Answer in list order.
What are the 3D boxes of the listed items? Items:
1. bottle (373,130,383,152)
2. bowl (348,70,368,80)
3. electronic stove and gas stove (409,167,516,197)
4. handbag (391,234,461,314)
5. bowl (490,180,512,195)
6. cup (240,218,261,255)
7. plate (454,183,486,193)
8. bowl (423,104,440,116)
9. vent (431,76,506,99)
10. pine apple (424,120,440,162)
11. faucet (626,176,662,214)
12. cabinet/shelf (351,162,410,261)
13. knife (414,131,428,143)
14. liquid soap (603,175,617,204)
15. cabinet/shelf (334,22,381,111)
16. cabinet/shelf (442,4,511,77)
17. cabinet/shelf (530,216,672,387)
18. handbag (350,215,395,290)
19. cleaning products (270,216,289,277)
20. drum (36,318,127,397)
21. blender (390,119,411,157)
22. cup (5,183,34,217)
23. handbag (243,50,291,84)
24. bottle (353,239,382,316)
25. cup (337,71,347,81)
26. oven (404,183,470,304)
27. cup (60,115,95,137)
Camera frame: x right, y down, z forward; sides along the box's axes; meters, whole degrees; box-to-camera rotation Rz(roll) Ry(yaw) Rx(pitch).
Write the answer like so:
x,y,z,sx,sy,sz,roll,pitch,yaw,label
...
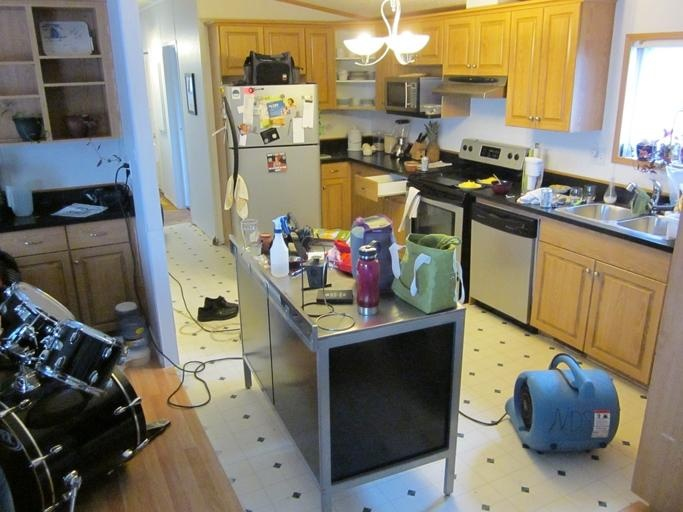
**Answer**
x,y,z,sx,sy,sz,roll,pitch,yaw,label
0.471,-1.462,6.675,0.126,0.245,0.199,-1,17,3,bottle
0.202,-2.196,6.351,0.298,0.151,0.165,-11,19,-26,bowl
1.179,-0.708,5.003,0.507,0.177,0.564,-11,21,-31,electronic stove and gas stove
0.447,0.066,2.801,0.289,0.376,0.373,-12,22,-32,handbag
1.389,-0.616,4.624,0.124,0.077,0.136,-5,16,1,bowl
-0.587,-0.140,3.412,0.137,0.214,0.129,-2,11,0,cup
1.165,-0.632,4.763,0.231,0.052,0.259,4,18,19,plate
0.917,-1.479,5.340,0.187,0.103,0.110,0,17,6,bowl
1.201,-1.581,4.913,0.233,0.203,0.798,-10,19,-25,vent
1.026,-1.294,5.915,0.158,0.425,0.345,0,17,8,pine apple
2.269,-0.446,3.958,0.228,0.247,0.218,8,20,31,faucet
0.465,-0.540,5.837,0.382,0.706,0.714,-13,15,-13,cabinet/shelf
0.928,-1.385,6.092,0.050,0.164,0.160,24,-8,-33,knife
2.163,-0.529,4.216,0.094,0.191,0.241,7,19,27,liquid soap
0.215,-2.301,6.425,0.554,0.986,0.273,9,34,17,cabinet/shelf
1.245,-1.949,4.752,0.260,0.511,0.677,-13,30,-27,cabinet/shelf
2.093,0.295,4.068,0.594,1.042,1.051,-16,27,-25,cabinet/shelf
0.173,-0.005,2.911,0.245,0.373,0.260,-14,21,-40,handbag
-0.372,-0.061,3.116,0.117,0.302,0.286,-4,17,-6,cleaning products
-1.409,0.577,2.860,0.382,0.282,0.387,-13,-12,-3,drum
0.703,-1.423,6.313,0.217,0.442,0.408,2,18,14,blender
-2.590,-0.435,4.174,0.282,0.227,0.160,2,18,13,cup
-0.778,-1.937,5.564,0.556,0.320,0.590,-12,19,-32,handbag
0.133,0.128,2.655,0.103,0.343,0.089,-5,17,-9,bottle
0.027,-2.163,6.305,0.126,0.116,0.060,-12,20,-30,cup
0.860,-0.306,5.167,0.620,0.605,0.493,9,-7,0,oven
-2.105,-1.046,4.231,0.192,0.161,0.208,0,11,0,cup
